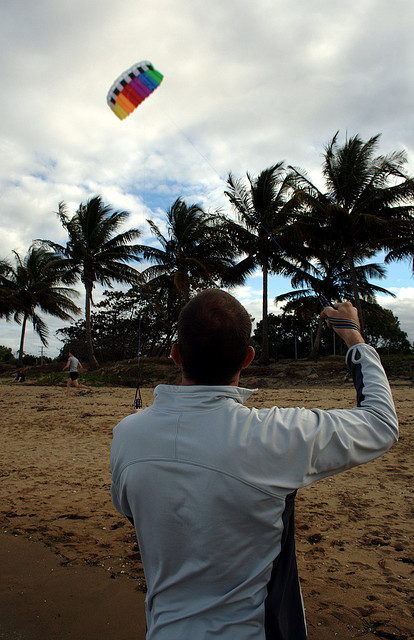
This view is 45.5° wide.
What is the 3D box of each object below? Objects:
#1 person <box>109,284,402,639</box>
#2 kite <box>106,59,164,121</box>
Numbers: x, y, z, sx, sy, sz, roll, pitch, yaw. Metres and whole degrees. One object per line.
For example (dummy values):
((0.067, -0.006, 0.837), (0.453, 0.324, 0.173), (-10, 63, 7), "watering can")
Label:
((0.129, 0.401, 1.427), (0.795, 0.931, 0.343), (-1, 0, -14), "person")
((-1.079, -3.252, 7.009), (0.755, 0.746, 0.489), (-2, -1, 6), "kite")
